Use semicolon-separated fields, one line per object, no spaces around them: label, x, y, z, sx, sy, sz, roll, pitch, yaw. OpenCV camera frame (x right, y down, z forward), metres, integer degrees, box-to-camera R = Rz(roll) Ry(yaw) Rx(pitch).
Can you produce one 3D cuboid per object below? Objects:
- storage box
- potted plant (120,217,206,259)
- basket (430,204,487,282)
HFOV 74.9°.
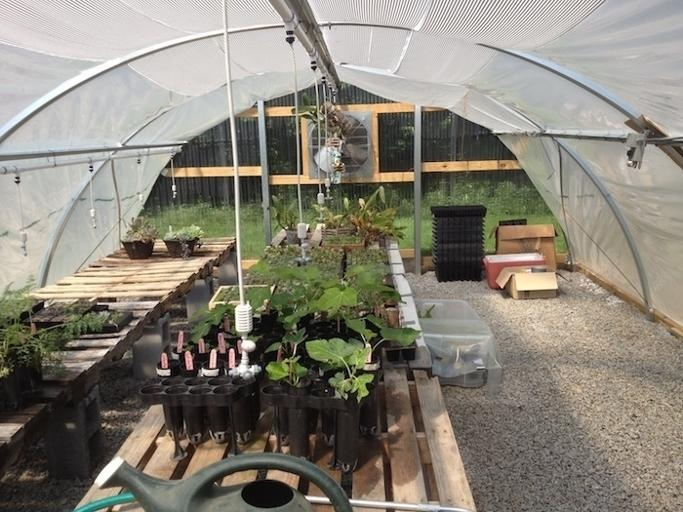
storage box;3.080;0.082;7.523;1.242;0.832;1.255;0;4;9
potted plant;-2.602;-0.262;6.581;1.114;0.487;0.691;1;16;-4
basket;2.117;-0.360;8.621;1.247;1.770;1.256;1;12;14
